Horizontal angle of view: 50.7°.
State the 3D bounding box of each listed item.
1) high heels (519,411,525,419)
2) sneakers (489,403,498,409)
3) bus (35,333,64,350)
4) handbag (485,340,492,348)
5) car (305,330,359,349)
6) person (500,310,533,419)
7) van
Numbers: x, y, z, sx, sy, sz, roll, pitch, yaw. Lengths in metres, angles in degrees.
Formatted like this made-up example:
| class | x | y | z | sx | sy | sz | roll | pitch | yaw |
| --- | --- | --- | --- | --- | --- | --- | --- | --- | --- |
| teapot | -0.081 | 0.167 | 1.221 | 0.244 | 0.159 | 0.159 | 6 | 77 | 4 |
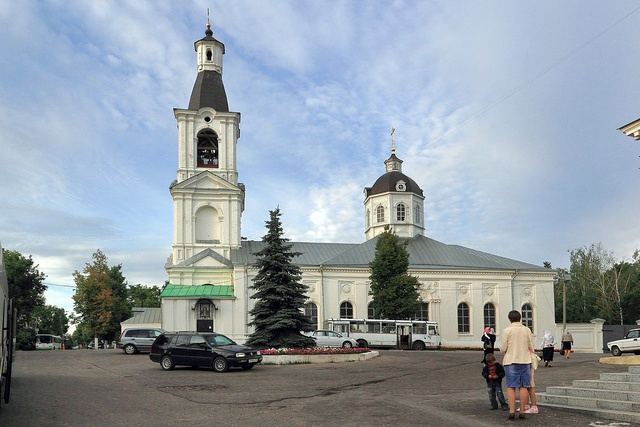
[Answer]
| class | x | y | z | sx | sy | sz | roll | pitch | yaw |
| --- | --- | --- | --- | --- | --- | --- | --- | --- | --- |
| high heels | 6.366 | 6.368 | 21.292 | 0.163 | 0.159 | 0.166 | -1 | 0 | 29 |
| sneakers | 5.755 | 6.453 | 22.460 | 0.285 | 0.140 | 0.172 | 0 | -12 | -1 |
| bus | -29.469 | 13.833 | 73.277 | 2.319 | 1.827 | 7.024 | -2 | -11 | -1 |
| handbag | 6.437 | 4.984 | 25.672 | 0.180 | 0.334 | 0.705 | -4 | -12 | 14 |
| car | 0.841 | 9.089 | 48.402 | 4.007 | 1.143 | 1.719 | -1 | -6 | -2 |
| person | 6.309 | 4.834 | 21.639 | 0.897 | 3.383 | 0.985 | -9 | -15 | 32 |
| van | -5.590 | 6.637 | 32.501 | 4.684 | 1.342 | 2.125 | -3 | -8 | 23 |
